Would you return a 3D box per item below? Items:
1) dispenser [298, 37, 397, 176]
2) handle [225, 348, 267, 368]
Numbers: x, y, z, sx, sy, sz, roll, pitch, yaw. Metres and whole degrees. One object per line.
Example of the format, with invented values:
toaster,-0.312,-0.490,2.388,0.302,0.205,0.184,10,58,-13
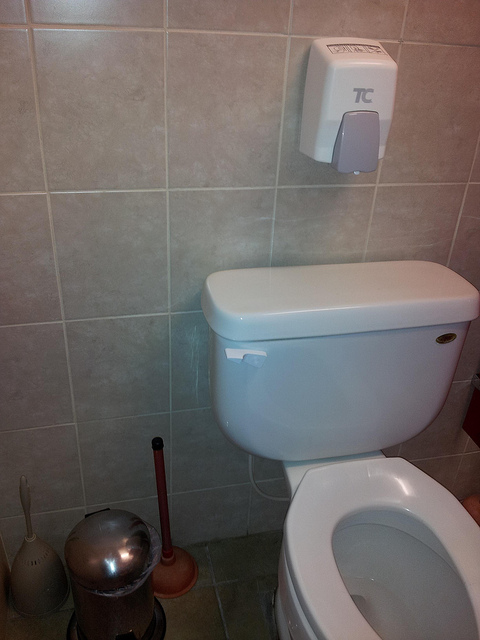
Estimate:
dispenser,0.173,-0.340,0.824,0.130,0.222,0.121,-3,28,-17
handle,0.012,0.065,0.849,0.053,0.035,0.014,-3,26,-5
